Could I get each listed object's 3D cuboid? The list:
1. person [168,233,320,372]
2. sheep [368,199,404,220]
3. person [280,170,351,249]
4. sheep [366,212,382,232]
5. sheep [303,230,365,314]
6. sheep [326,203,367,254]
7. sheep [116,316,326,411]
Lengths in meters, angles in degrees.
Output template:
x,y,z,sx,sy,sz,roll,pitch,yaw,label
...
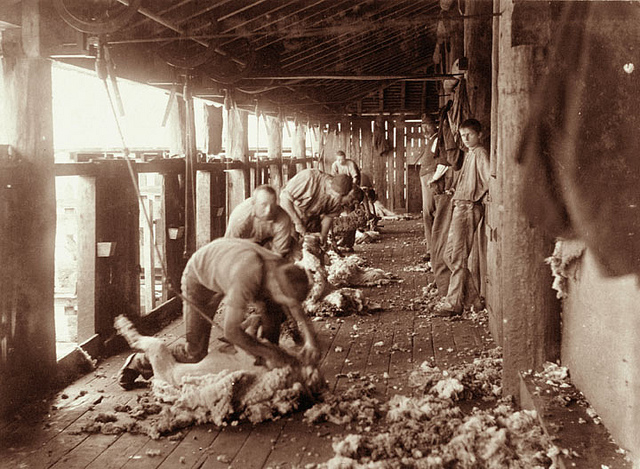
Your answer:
x,y,z,sx,sy,sz,roll,pitch,yaw,label
-0.674,0.673,6.107,1.311,1.280,1.006,18,19,28,person
1.720,-0.637,17.285,0.733,0.419,0.295,16,18,12,sheep
-0.047,-0.313,9.100,0.685,0.951,1.910,-8,-12,-16,person
1.102,-0.278,14.067,0.217,0.488,0.721,-1,11,4,sheep
0.181,0.522,9.136,0.216,0.828,0.398,-28,-13,1,sheep
0.556,-0.056,12.531,1.006,1.155,0.444,-6,7,-34,sheep
-0.855,1.206,5.841,0.997,0.520,0.789,-5,-4,16,sheep
